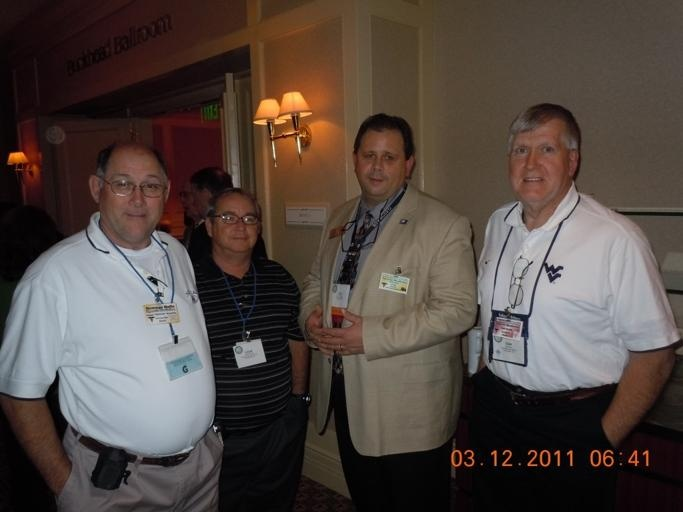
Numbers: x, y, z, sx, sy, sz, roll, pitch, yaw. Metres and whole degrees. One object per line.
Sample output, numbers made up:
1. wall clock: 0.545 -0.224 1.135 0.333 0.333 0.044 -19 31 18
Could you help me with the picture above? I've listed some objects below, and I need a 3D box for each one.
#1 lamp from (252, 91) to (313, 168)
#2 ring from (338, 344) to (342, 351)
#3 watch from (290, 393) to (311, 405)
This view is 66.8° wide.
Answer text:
1. lamp: -0.381 -0.881 3.662 0.488 0.487 0.316 2 12 42
2. ring: -0.007 0.426 2.392 0.021 0.031 0.010 -7 -8 11
3. watch: -0.204 0.738 2.688 0.065 0.040 0.064 4 -1 11
